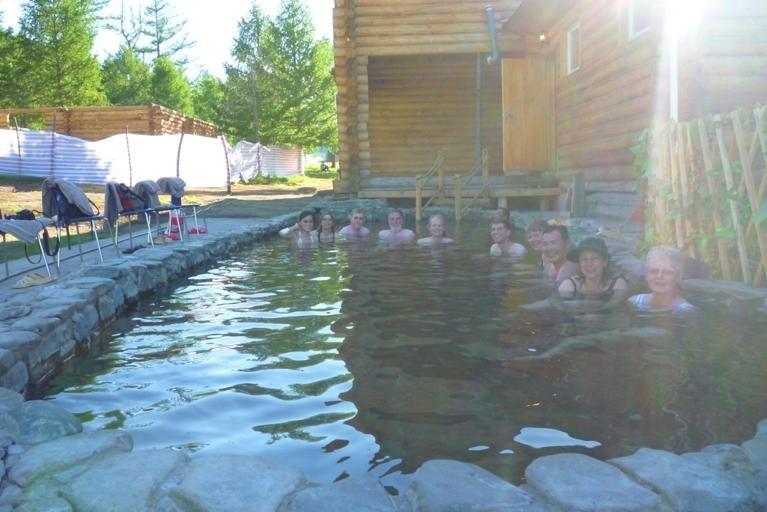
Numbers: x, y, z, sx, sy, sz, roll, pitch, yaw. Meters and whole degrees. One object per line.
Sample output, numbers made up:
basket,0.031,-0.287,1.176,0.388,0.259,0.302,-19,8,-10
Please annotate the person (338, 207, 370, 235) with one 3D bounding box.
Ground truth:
person,-0.590,-0.855,13.125,1.012,0.819,0.609,0,4,-13

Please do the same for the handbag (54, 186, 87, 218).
handbag,-4.582,-0.749,8.218,0.235,0.479,0.609,-1,7,9

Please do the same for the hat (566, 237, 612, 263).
hat,2.419,-0.055,6.658,0.467,0.299,0.365,0,7,17

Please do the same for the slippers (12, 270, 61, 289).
slippers,-4.504,0.326,7.271,0.477,0.111,0.616,-3,7,-9

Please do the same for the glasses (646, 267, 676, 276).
glasses,2.990,0.182,6.036,0.262,0.090,0.072,1,7,18

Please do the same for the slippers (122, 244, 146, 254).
slippers,-4.126,-0.094,9.472,0.488,0.179,0.159,-2,5,-13

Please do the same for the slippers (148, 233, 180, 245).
slippers,-4.055,-0.282,10.435,0.243,0.155,0.429,2,13,6

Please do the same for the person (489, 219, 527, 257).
person,2.071,-0.259,9.841,0.726,0.592,0.611,1,4,42
